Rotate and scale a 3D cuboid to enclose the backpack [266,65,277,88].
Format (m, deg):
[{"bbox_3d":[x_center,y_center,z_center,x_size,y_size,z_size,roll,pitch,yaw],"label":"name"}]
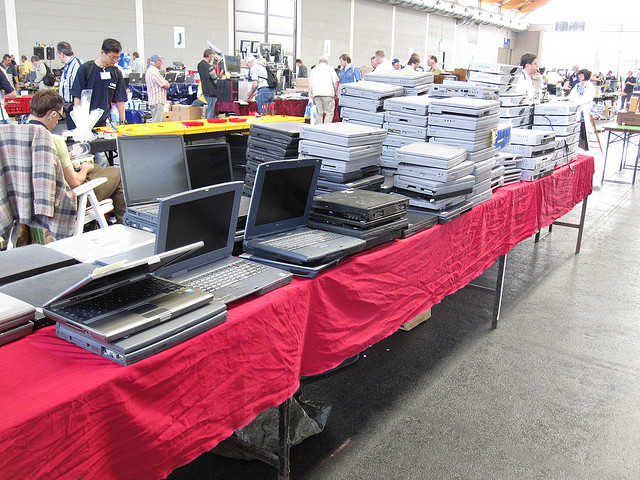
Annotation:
[{"bbox_3d":[-1.060,-3.328,9.356,0.218,0.409,0.184,0,21,-5],"label":"backpack"}]

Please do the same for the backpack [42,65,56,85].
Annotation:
[{"bbox_3d":[-6.418,-3.784,10.503,0.284,0.415,0.525,-10,23,-29],"label":"backpack"}]

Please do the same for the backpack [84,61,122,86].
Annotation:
[{"bbox_3d":[-2.580,-1.896,5.291,0.333,0.300,0.226,-1,34,-26],"label":"backpack"}]

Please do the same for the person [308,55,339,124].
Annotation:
[{"bbox_3d":[0.028,-3.125,9.586,0.597,1.273,0.795,1,21,-2],"label":"person"}]

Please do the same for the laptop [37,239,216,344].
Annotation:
[{"bbox_3d":[-0.563,0.120,1.310,0.285,0.165,0.375,13,17,28],"label":"laptop"}]

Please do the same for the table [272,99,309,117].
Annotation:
[{"bbox_3d":[-0.739,-3.074,10.599,0.687,0.241,0.689,17,26,40],"label":"table"}]

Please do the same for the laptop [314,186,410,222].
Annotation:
[{"bbox_3d":[0.137,-0.165,2.011,0.244,0.052,0.243,10,18,32],"label":"laptop"}]

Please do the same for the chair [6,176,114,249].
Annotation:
[{"bbox_3d":[-1.680,-0.174,2.812,0.364,0.454,0.346,22,34,29],"label":"chair"}]

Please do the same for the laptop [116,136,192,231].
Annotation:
[{"bbox_3d":[-0.751,-0.319,2.396,0.388,0.413,0.501,13,19,23],"label":"laptop"}]

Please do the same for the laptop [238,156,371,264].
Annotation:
[{"bbox_3d":[-0.050,-0.128,1.846,0.385,0.340,0.456,14,18,27],"label":"laptop"}]

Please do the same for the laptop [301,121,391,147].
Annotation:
[{"bbox_3d":[0.106,-0.539,2.322,0.289,0.094,0.403,14,23,33],"label":"laptop"}]

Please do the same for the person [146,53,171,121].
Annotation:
[{"bbox_3d":[-3.059,-2.785,8.373,0.419,1.157,1.674,-6,21,-19],"label":"person"}]

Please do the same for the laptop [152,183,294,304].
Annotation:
[{"bbox_3d":[-0.334,0.008,1.575,0.345,0.304,0.423,19,20,32],"label":"laptop"}]

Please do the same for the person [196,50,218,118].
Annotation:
[{"bbox_3d":[-2.298,-3.056,9.009,0.332,1.305,0.763,-4,21,-14],"label":"person"}]

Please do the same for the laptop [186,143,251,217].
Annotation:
[{"bbox_3d":[-0.597,-0.437,2.677,0.395,0.323,0.321,12,13,37],"label":"laptop"}]

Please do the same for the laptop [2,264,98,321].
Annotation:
[{"bbox_3d":[-0.866,0.107,1.392,0.227,0.051,0.233,15,26,34],"label":"laptop"}]

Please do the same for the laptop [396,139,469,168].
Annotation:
[{"bbox_3d":[0.561,-0.443,2.373,0.249,0.059,0.262,11,23,29],"label":"laptop"}]
